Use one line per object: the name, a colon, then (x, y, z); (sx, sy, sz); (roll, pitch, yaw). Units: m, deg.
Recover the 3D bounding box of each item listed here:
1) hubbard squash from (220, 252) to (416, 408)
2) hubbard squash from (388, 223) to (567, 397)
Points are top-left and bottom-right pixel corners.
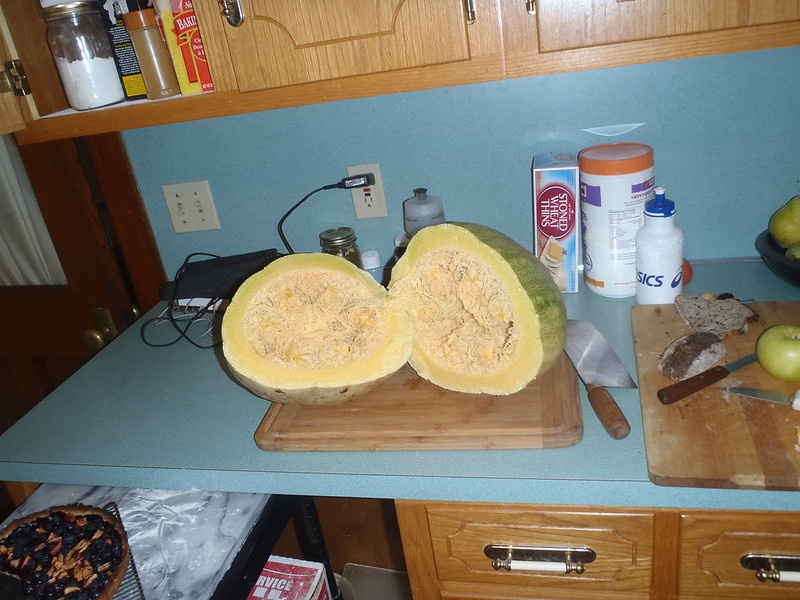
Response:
hubbard squash: (-0.143, 0.014, 1.092); (0.373, 0.261, 0.354); (-14, 25, -29)
hubbard squash: (0.104, 0.030, 1.058); (0.315, 0.353, 0.133); (34, 65, 12)
